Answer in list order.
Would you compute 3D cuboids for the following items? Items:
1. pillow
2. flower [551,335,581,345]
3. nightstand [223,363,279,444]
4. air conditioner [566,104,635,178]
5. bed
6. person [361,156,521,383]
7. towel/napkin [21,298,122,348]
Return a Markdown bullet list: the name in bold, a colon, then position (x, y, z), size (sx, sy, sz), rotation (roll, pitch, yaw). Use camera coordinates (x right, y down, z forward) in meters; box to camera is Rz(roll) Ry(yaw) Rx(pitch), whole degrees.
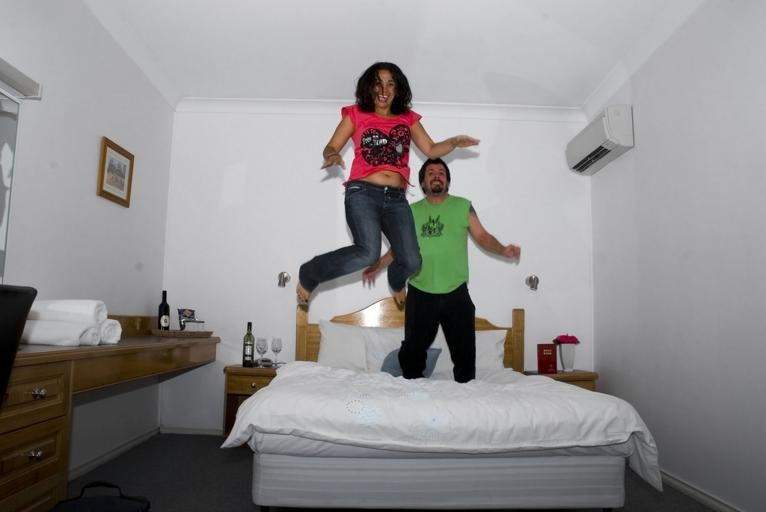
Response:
- **pillow**: position (0.179, 0.735, 4.044), size (1.070, 0.456, 0.626), rotation (1, -3, -11)
- **flower**: position (1.599, 0.735, 4.347), size (0.125, 0.059, 0.126), rotation (2, -6, -19)
- **nightstand**: position (-0.968, 1.174, 4.238), size (0.682, 0.688, 0.510), rotation (0, -6, -2)
- **air conditioner**: position (1.899, -0.973, 4.268), size (0.224, 0.354, 0.681), rotation (-5, -9, -5)
- **bed**: position (0.335, 0.986, 3.677), size (3.056, 1.382, 1.822), rotation (1, -7, -12)
- **person**: position (0.524, 0.230, 4.046), size (1.285, 1.995, 0.563), rotation (0, 13, 13)
- **towel/napkin**: position (-1.939, 0.375, 2.927), size (0.366, 0.172, 0.275), rotation (1, -1, 20)
